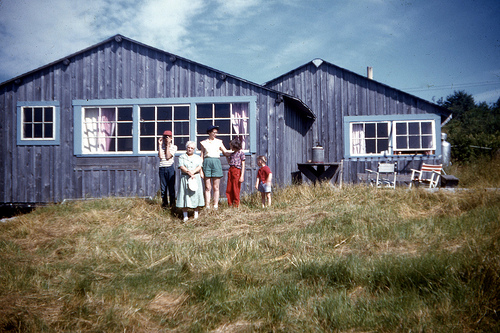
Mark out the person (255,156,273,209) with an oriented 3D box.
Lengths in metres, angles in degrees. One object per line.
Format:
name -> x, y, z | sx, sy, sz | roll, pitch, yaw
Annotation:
person -> 0.390, 0.401, 14.675 | 0.389, 1.348, 0.726 | -1, 0, 1

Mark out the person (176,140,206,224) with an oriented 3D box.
person -> -1.529, 0.382, 13.925 | 0.637, 1.957, 0.805 | -1, 0, 26

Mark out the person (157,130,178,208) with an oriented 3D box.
person -> -2.281, 0.061, 14.694 | 0.466, 1.950, 0.727 | -1, 0, -4

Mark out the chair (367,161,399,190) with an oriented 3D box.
chair -> 4.362, 0.294, 17.015 | 0.881, 0.977, 0.947 | 8, 16, 38

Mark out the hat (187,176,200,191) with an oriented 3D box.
hat -> -1.457, 0.435, 13.671 | 0.268, 0.364, 0.113 | -5, 0, -32

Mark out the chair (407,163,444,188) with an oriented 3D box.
chair -> 5.653, 0.397, 16.665 | 1.022, 0.855, 0.969 | -9, 15, -28

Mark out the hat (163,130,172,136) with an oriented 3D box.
hat -> -2.258, -0.946, 14.630 | 0.189, 0.135, 0.280 | 2, -4, -4

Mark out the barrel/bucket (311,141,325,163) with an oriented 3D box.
barrel/bucket -> 2.273, -0.467, 17.757 | 0.411, 0.724, 0.408 | 1, -6, 0
